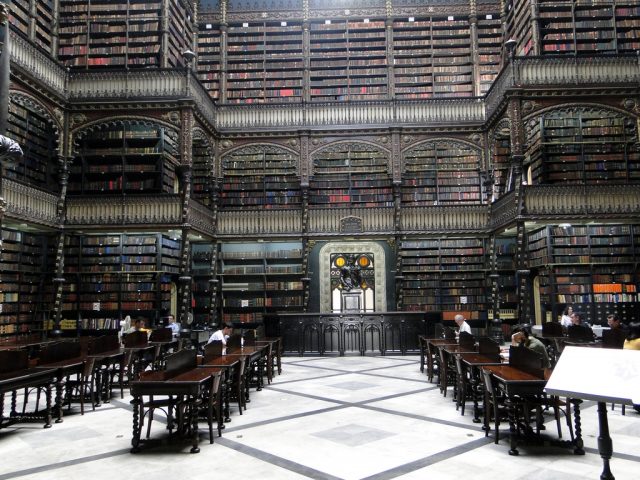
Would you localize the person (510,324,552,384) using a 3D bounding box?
[{"bbox_3d":[3.894,2.207,11.794,0.656,1.159,0.570,-14,-7,0],"label":"person"}]
